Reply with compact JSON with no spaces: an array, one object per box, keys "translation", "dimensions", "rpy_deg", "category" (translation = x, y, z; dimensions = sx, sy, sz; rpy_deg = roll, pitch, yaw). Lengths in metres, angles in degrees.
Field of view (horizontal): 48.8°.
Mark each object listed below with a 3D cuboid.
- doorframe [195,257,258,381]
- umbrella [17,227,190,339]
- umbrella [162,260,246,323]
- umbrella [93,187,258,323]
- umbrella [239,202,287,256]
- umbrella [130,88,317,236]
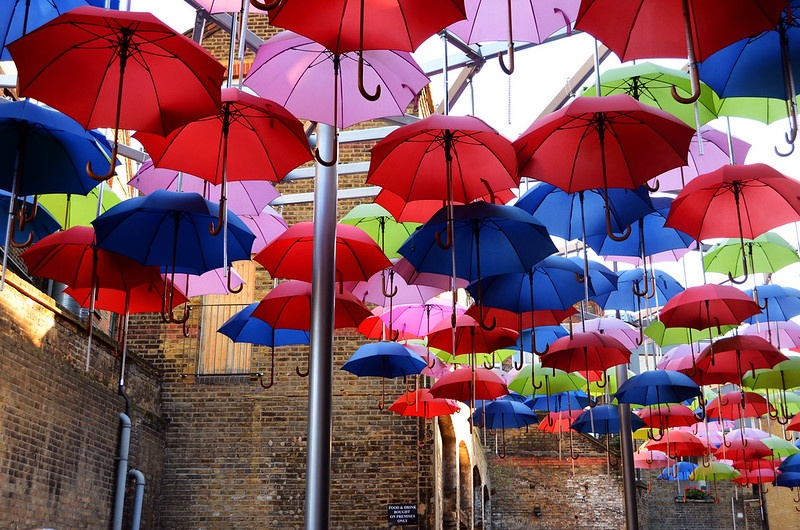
[{"translation":[-3.193,1.227,16.099],"dimensions":[1.023,2.413,0.081],"rpy_deg":[2,-50,-12],"category":"doorframe"},{"translation":[-3.604,-0.111,10.393],"dimensions":[1.573,0.864,1.592],"rpy_deg":[16,10,41],"category":"umbrella"},{"translation":[-2.431,0.187,10.912],"dimensions":[0.835,0.771,0.892],"rpy_deg":[-3,-24,-14],"category":"umbrella"},{"translation":[-2.496,-0.343,9.948],"dimensions":[1.369,1.088,1.497],"rpy_deg":[3,-28,3],"category":"umbrella"},{"translation":[-1.649,-0.423,10.889],"dimensions":[0.540,0.609,0.380],"rpy_deg":[-1,17,-7],"category":"umbrella"},{"translation":[-1.686,-1.201,8.869],"dimensions":[1.487,1.262,1.545],"rpy_deg":[-3,-34,3],"category":"umbrella"}]
